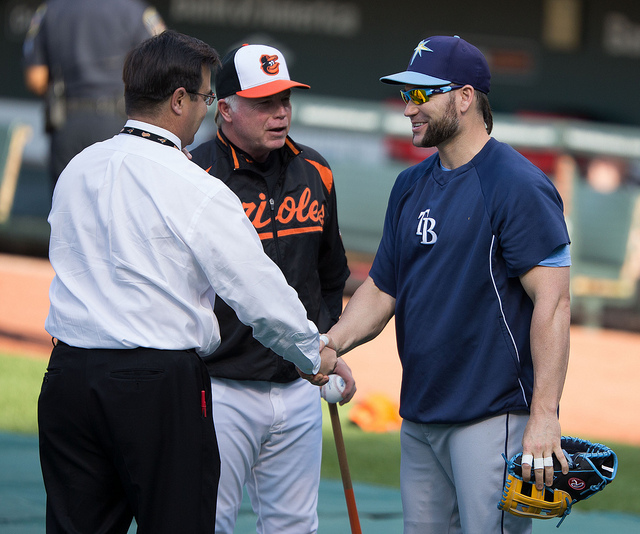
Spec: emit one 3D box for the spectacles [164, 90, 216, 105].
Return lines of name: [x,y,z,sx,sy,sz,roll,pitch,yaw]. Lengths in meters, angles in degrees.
spectacles: [-0.488,-0.654,4.757,0.065,0.052,0.236,12,12,41]

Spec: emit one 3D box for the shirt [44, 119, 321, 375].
shirt: [-0.665,-0.107,4.889,1.249,0.960,0.738,6,5,36]

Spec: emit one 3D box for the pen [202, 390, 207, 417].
pen: [-0.434,0.513,4.657,0.020,0.097,0.022,0,10,-23]

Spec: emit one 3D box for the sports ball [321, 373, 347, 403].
sports ball: [0.060,0.531,5.448,0.111,0.126,0.120,-10,11,2]

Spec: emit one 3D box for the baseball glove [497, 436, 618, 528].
baseball glove: [0.921,0.842,4.814,0.390,0.329,0.177,-9,7,4]
